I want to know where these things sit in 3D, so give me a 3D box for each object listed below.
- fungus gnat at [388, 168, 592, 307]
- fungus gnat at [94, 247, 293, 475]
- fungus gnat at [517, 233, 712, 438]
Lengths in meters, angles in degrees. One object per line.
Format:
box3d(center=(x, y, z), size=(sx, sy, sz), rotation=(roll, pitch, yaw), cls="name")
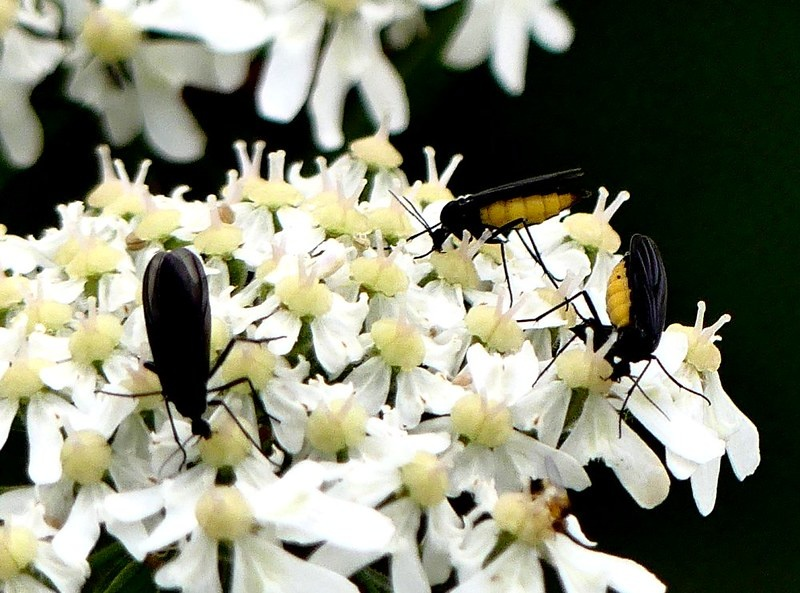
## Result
box3d(center=(0.155, -0.087, 2.317), size=(0.294, 0.231, 0.191), rotation=(-3, -1, -2), cls="fungus gnat")
box3d(center=(-0.304, 0.122, 2.060), size=(0.241, 0.091, 0.369), rotation=(-26, 48, 3), cls="fungus gnat")
box3d(center=(0.376, 0.055, 2.248), size=(0.252, 0.093, 0.319), rotation=(35, -2, 29), cls="fungus gnat")
